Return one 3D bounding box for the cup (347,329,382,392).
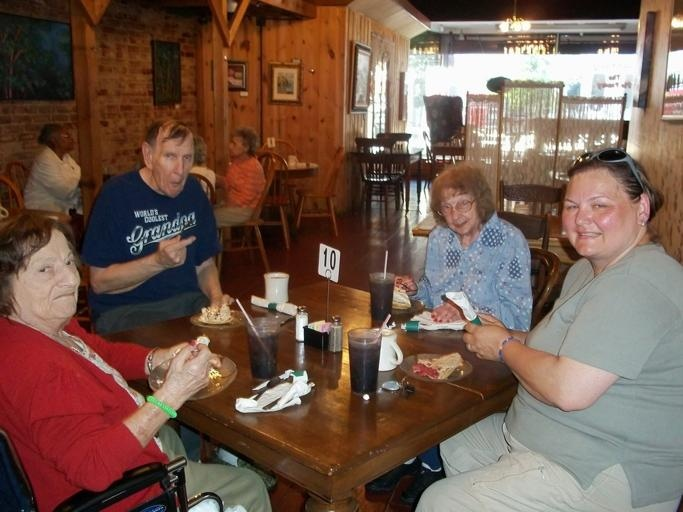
[{"bbox_3d":[0.073,0.336,1.615,0.109,0.173,0.112,1,2,0],"label":"cup"}]

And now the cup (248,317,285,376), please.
[{"bbox_3d":[-0.257,0.311,1.694,0.120,0.186,0.122,-1,-1,0],"label":"cup"}]

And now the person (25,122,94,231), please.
[{"bbox_3d":[-2.974,-0.719,5.414,0.739,1.291,0.558,11,18,-8],"label":"person"}]

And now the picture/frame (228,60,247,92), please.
[{"bbox_3d":[-1.626,-2.809,7.978,0.324,0.470,0.046,0,14,13],"label":"picture/frame"}]

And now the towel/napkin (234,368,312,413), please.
[{"bbox_3d":[-0.193,0.414,1.521,0.144,0.031,0.120,-13,16,-36],"label":"towel/napkin"}]

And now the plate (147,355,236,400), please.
[{"bbox_3d":[-0.423,0.397,1.638,0.165,0.037,0.169,6,16,31],"label":"plate"}]

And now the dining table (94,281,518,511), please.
[{"bbox_3d":[0.115,0.193,1.572,0.888,0.220,0.856,10,15,41],"label":"dining table"}]

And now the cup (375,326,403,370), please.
[{"bbox_3d":[0.162,0.327,1.739,0.077,0.124,0.131,-8,13,-21],"label":"cup"}]

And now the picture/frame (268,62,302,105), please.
[{"bbox_3d":[-0.859,-2.704,7.918,0.587,0.706,0.051,2,12,6],"label":"picture/frame"}]

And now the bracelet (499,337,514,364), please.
[{"bbox_3d":[0.529,0.308,1.662,0.018,0.067,0.066,13,27,31],"label":"bracelet"}]

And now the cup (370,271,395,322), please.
[{"bbox_3d":[0.171,0.173,2.169,0.114,0.193,0.117,0,5,0],"label":"cup"}]

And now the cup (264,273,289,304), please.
[{"bbox_3d":[-0.287,0.138,2.345,0.116,0.136,0.123,2,19,-1],"label":"cup"}]

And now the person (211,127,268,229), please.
[{"bbox_3d":[-1.212,-0.792,5.762,0.704,1.235,0.589,-5,22,-26],"label":"person"}]

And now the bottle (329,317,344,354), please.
[{"bbox_3d":[-0.021,0.289,1.879,0.057,0.113,0.058,2,5,0],"label":"bottle"}]
